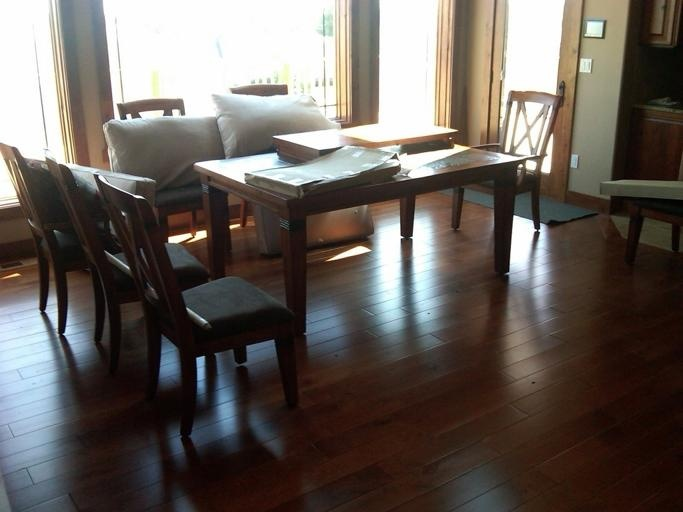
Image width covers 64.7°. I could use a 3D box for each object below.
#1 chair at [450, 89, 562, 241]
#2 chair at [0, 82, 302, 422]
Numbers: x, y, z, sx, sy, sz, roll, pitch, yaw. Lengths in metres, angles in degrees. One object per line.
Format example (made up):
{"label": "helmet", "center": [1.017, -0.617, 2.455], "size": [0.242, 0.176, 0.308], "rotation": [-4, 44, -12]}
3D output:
{"label": "chair", "center": [1.381, -0.781, 4.506], "size": [0.806, 1.091, 0.781], "rotation": [-8, 22, -9]}
{"label": "chair", "center": [-1.140, -0.030, 3.155], "size": [0.601, 0.972, 1.874], "rotation": [-19, 35, -33]}
